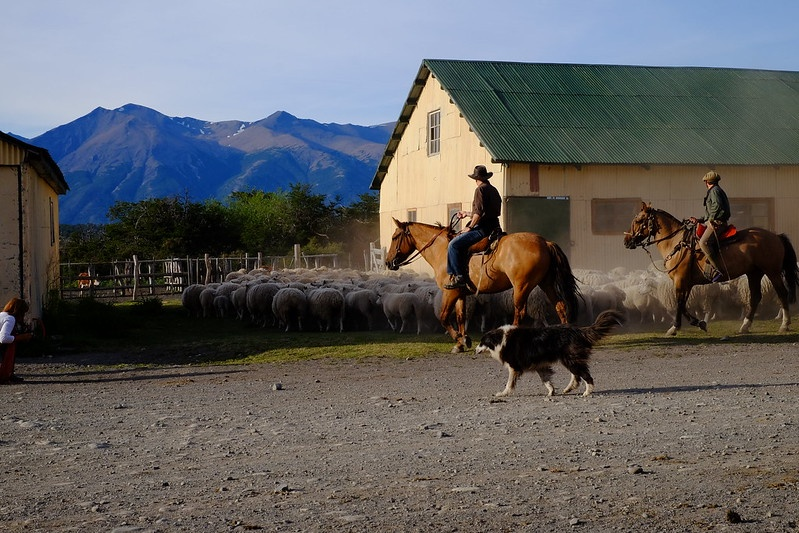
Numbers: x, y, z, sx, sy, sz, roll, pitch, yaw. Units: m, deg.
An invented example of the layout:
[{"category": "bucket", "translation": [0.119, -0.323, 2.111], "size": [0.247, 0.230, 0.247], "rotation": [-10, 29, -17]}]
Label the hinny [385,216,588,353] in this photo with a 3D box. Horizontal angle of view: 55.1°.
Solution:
[{"category": "hinny", "translation": [1.604, 0.371, 15.291], "size": [3.771, 2.735, 1.141], "rotation": [-4, -1, 18]}]

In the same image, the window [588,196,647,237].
[{"category": "window", "translation": [6.898, -1.670, 25.307], "size": [1.603, 1.213, 0.137], "rotation": [-4, 7, -38]}]

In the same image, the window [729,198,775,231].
[{"category": "window", "translation": [11.493, -1.755, 24.936], "size": [1.170, 1.095, 0.098], "rotation": [-1, 1, -7]}]

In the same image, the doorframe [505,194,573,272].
[{"category": "doorframe", "translation": [4.385, -1.203, 25.155], "size": [1.913, 1.979, 1.880], "rotation": [0, 2, -4]}]

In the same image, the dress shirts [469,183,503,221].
[{"category": "dress shirts", "translation": [1.744, -1.315, 15.181], "size": [0.494, 0.817, 0.930], "rotation": [-3, -1, 35]}]
